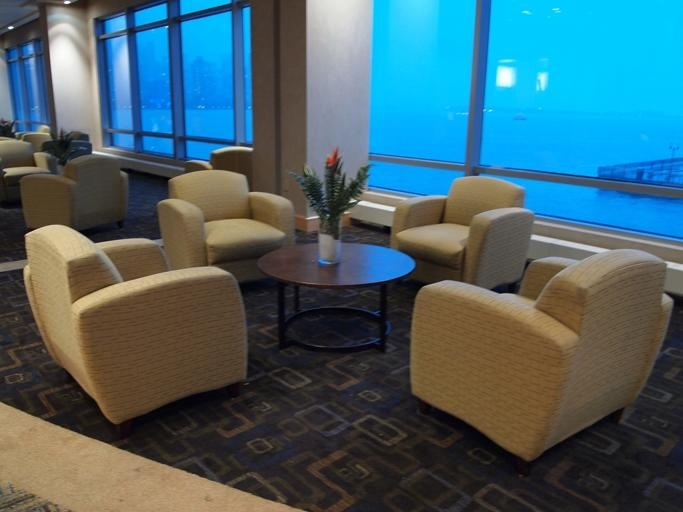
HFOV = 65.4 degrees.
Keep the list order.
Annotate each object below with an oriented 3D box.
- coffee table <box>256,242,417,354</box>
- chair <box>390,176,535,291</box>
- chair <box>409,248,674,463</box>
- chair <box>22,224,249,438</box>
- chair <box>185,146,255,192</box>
[{"bbox_3d":[-0.070,0.344,3.677,1.122,0.380,0.971,7,21,28],"label":"coffee table"},{"bbox_3d":[1.086,-0.233,4.912,0.970,0.709,1.012,-24,36,-34],"label":"chair"},{"bbox_3d":[1.124,0.477,2.828,1.400,1.052,0.688,-2,23,-4],"label":"chair"},{"bbox_3d":[-1.309,0.308,3.316,1.015,0.760,1.165,-4,16,-39],"label":"chair"},{"bbox_3d":[-1.813,-1.288,7.694,1.010,0.583,0.883,-11,22,-35],"label":"chair"}]
